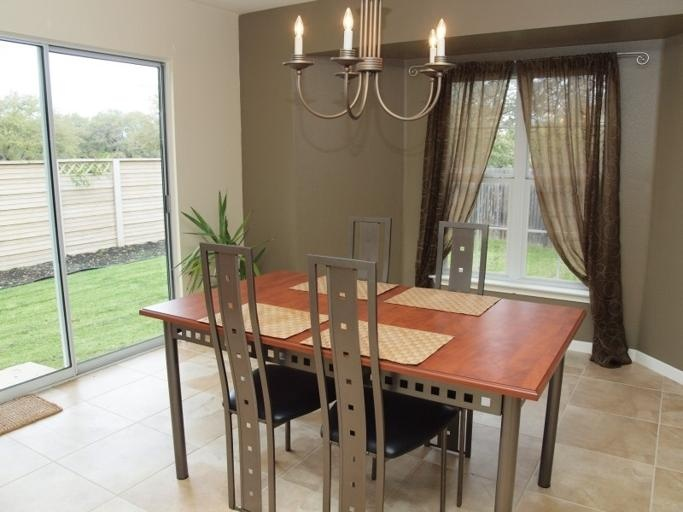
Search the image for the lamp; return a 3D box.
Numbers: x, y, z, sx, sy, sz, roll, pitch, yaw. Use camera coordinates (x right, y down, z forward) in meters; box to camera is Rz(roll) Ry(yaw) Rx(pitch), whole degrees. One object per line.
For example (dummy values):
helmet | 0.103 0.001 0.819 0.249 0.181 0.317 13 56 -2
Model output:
lamp | 0.183 -1.589 4.322 1.040 1.173 1.115 5 15 20
